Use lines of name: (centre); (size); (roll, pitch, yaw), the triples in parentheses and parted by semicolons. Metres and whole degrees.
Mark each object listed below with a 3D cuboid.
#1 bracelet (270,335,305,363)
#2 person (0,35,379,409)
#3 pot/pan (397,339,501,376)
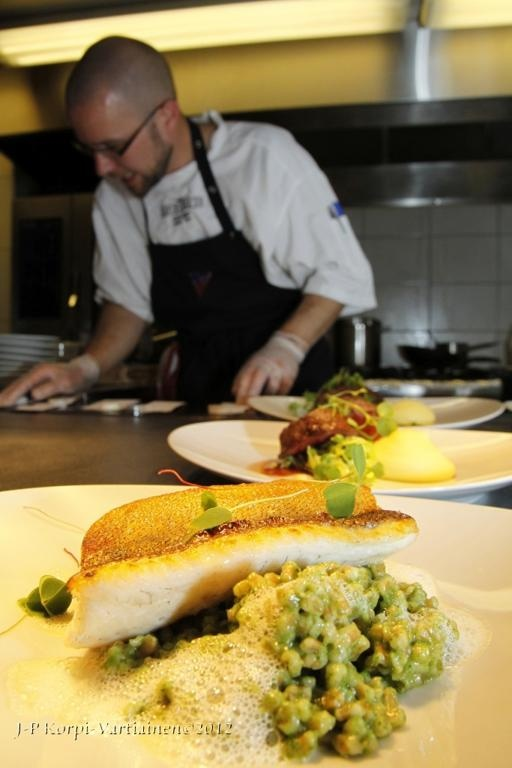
bracelet: (0.112, -0.136, 2.316); (0.119, 0.046, 0.085); (28, 18, -41)
person: (-0.299, -0.597, 2.673); (1.309, 1.419, 0.967); (-2, 12, 29)
pot/pan: (1.435, -0.197, 4.969); (0.725, 0.260, 0.238); (-9, 10, -16)
